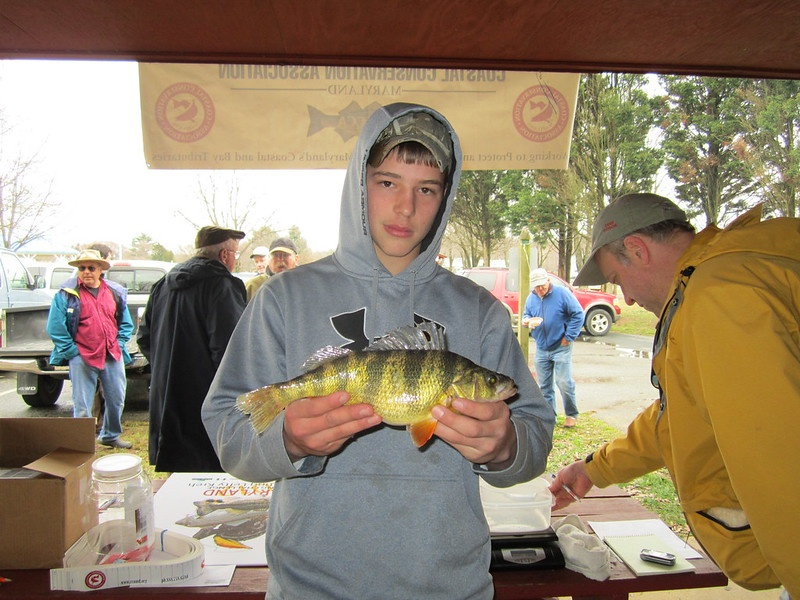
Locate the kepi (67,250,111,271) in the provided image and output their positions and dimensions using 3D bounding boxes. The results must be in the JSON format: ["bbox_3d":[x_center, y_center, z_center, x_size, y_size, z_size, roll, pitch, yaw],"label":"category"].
[{"bbox_3d":[-4.402,-0.570,8.539,0.475,0.276,0.494,-2,5,-33],"label":"kepi"}]

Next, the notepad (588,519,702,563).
[{"bbox_3d":[1.425,1.378,3.685,0.639,0.118,0.568,1,6,-1],"label":"notepad"}]

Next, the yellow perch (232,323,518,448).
[{"bbox_3d":[-0.105,0.433,2.802,1.279,0.411,0.203,1,5,4],"label":"yellow perch"}]

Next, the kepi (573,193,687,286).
[{"bbox_3d":[1.483,-0.435,4.139,0.737,0.385,0.513,-20,-4,25],"label":"kepi"}]

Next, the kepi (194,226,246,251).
[{"bbox_3d":[-2.051,-0.703,6.793,0.313,0.144,0.388,0,8,33],"label":"kepi"}]
